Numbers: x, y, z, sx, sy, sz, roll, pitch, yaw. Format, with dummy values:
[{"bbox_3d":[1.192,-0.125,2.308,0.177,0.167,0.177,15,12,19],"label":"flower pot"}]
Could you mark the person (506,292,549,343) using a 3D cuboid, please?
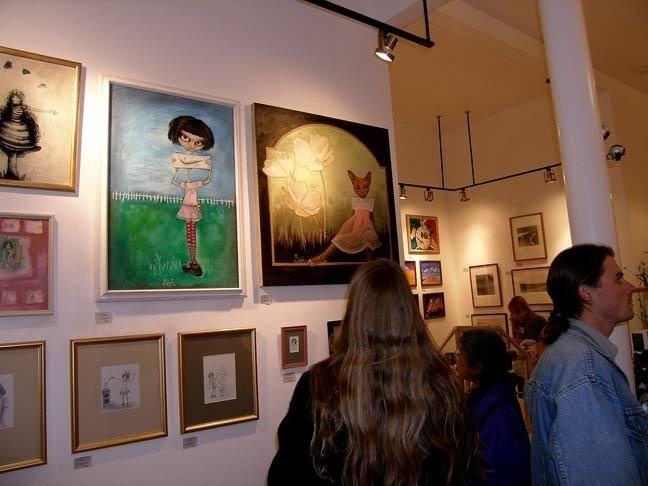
[{"bbox_3d":[3.580,1.372,8.653,0.728,0.999,0.515,-3,9,41],"label":"person"}]
